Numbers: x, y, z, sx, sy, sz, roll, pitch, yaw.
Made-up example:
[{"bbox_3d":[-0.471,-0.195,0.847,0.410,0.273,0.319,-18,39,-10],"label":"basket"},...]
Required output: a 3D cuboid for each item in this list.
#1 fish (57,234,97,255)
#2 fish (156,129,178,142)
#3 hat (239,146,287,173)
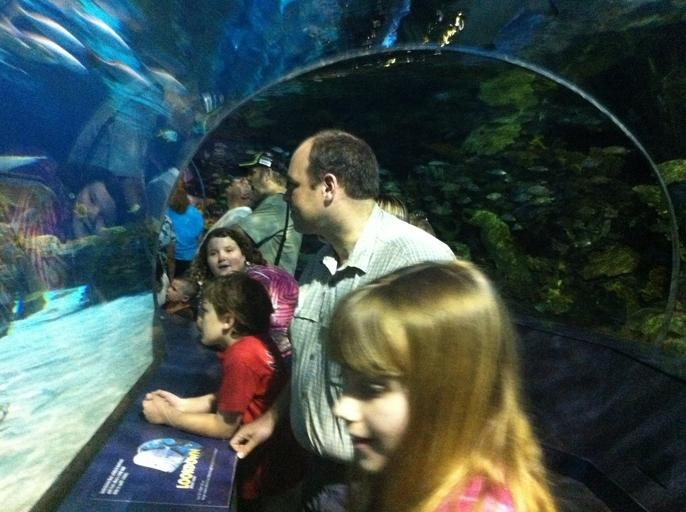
[{"bbox_3d":[-1.349,-0.058,2.543,0.058,0.062,0.242,-26,12,-2],"label":"fish"},{"bbox_3d":[-1.112,-0.769,3.215,0.095,0.041,0.034,30,-12,22],"label":"fish"},{"bbox_3d":[-0.602,-0.727,3.821,0.309,0.134,0.199,6,9,-13],"label":"hat"}]
